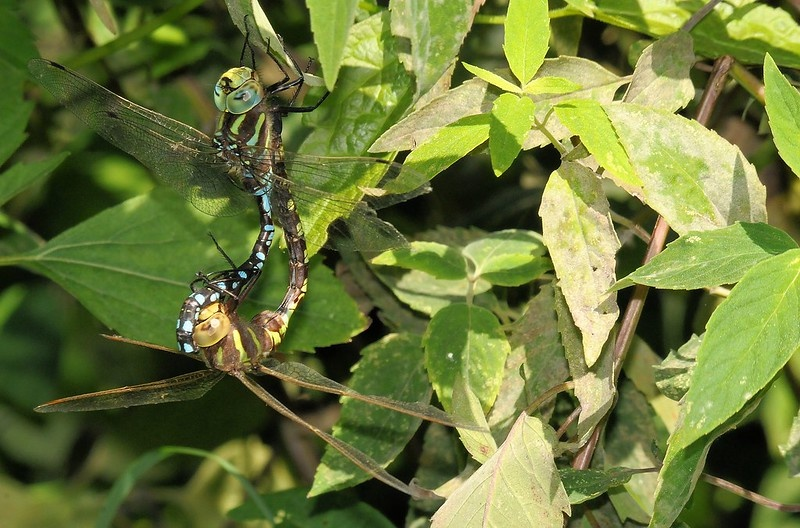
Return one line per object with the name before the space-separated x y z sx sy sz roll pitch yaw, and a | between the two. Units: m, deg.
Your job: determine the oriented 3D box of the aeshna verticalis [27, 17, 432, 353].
aeshna verticalis | -0.276 -0.043 1.492 0.683 0.300 0.571 -4 80 14
